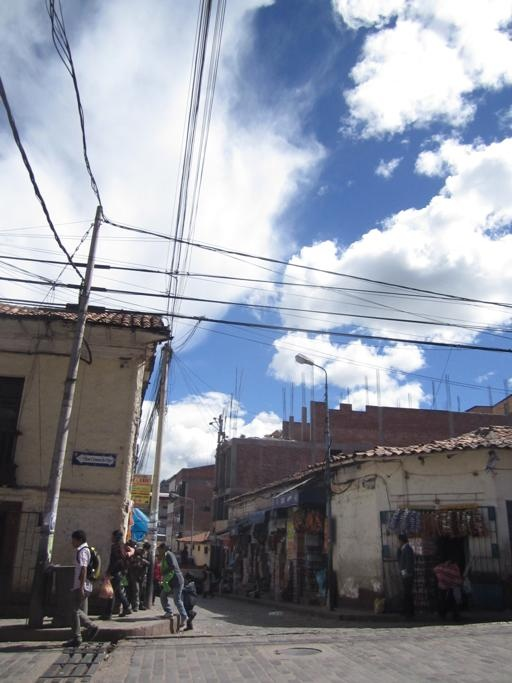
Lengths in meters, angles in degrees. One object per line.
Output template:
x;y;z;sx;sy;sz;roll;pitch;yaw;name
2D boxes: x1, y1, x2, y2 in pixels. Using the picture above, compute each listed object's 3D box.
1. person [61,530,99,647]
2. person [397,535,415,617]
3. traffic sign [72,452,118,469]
-2.376;3.370;7.204;0.455;1.398;0.855;5;-20;-15;person
3.454;5.369;11.899;0.354;1.726;0.991;-5;-20;13;person
-3.537;2.602;11.404;0.950;0.330;0.032;4;-20;-13;traffic sign
